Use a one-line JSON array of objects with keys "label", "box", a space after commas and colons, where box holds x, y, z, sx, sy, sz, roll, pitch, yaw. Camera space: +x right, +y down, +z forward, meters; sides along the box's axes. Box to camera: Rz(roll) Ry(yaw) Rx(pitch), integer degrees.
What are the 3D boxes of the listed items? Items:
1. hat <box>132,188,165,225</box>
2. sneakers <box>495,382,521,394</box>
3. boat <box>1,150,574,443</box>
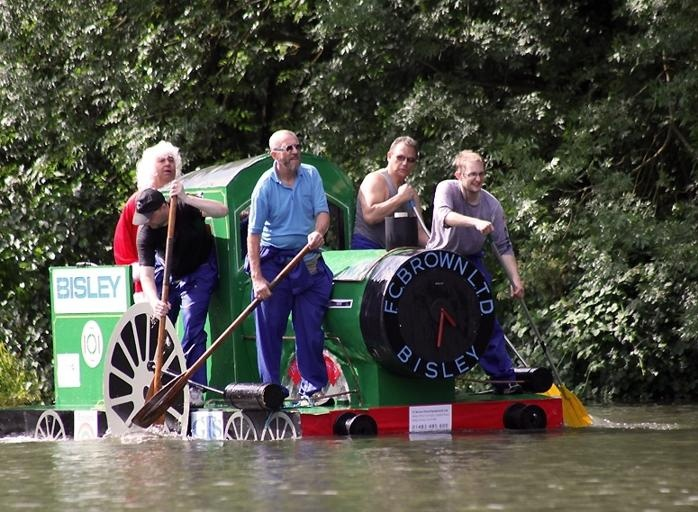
[{"label": "hat", "box": [-2.009, -0.485, 14.377, 0.230, 0.376, 0.208, 19, -31, 27]}, {"label": "sneakers", "box": [1.614, 1.373, 14.784, 0.299, 0.146, 0.117, -2, -1, 9]}, {"label": "boat", "box": [-1.394, 0.417, 15.236, 2.749, 2.725, 4.918, 2, -6, -36]}]
